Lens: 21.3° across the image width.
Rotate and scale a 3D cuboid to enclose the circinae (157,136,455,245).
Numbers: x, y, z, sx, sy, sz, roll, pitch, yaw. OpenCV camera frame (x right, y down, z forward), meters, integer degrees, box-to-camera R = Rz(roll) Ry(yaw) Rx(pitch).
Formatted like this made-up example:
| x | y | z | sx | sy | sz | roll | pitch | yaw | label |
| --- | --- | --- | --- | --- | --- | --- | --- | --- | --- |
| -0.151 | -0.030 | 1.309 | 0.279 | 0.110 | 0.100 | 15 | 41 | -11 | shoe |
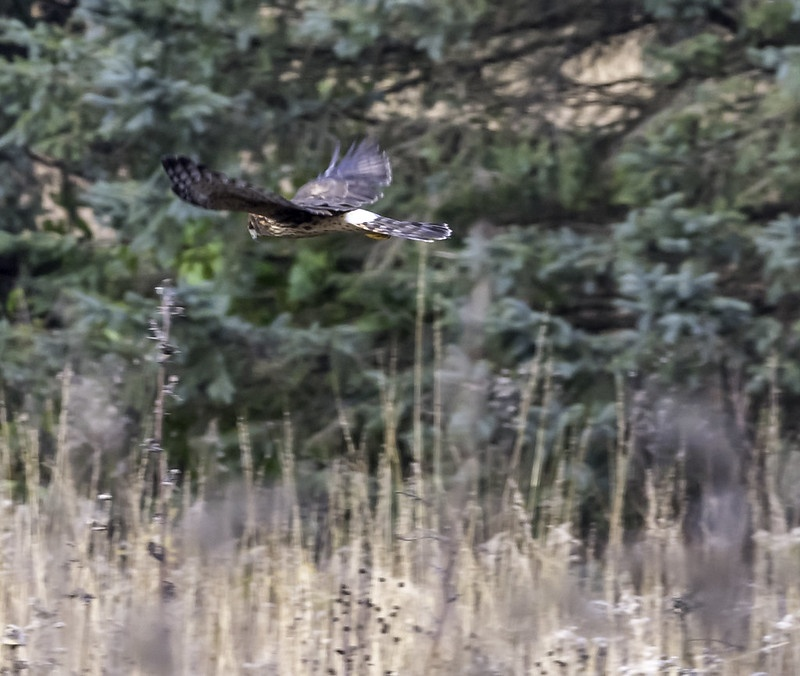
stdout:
| x | y | z | sx | sy | sz | roll | pitch | yaw | label |
| --- | --- | --- | --- | --- | --- | --- | --- | --- | --- |
| -0.464 | -0.701 | 10.733 | 0.718 | 0.257 | 1.033 | -9 | 6 | 33 | circinae |
